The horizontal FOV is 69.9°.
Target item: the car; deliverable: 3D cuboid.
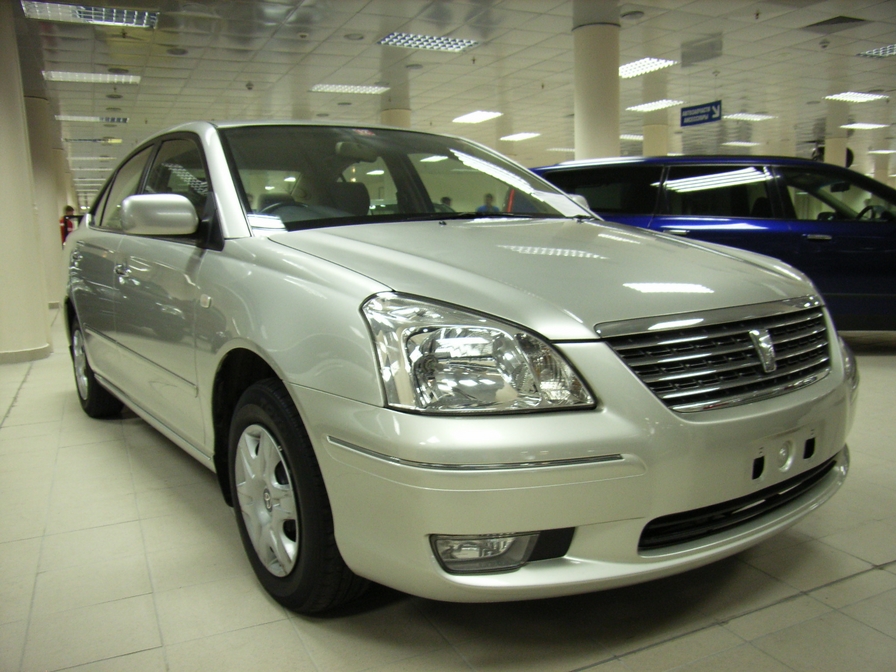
[{"bbox_3d":[-0.567,-0.077,2.923,1.780,0.977,3.486,-4,8,-38],"label":"car"}]
